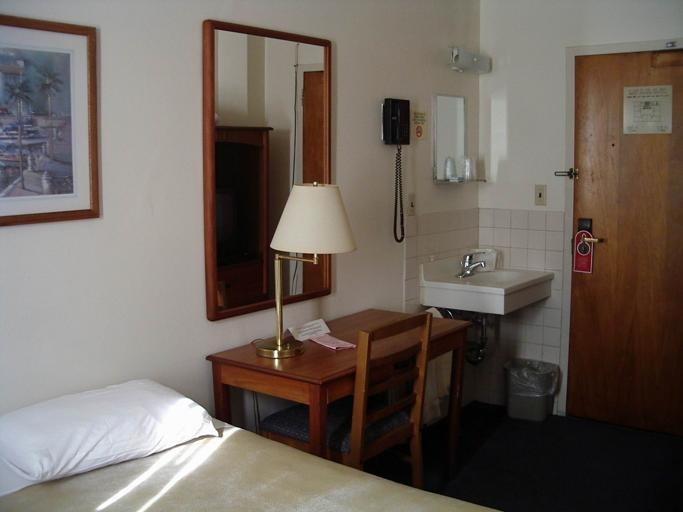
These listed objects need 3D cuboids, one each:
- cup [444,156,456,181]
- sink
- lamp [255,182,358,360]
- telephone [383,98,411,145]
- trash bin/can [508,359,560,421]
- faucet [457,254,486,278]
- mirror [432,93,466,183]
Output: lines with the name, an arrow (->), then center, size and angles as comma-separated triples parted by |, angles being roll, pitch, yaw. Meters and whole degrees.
cup -> 0.790, -0.616, 3.830 | 0.144, 0.161, 0.068 | -7, 11, -43
sink -> 1.041, 0.202, 3.810 | 0.607, 0.416, 0.870 | 8, 12, 43
lamp -> -0.224, 0.052, 2.598 | 0.433, 0.795, 0.531 | -3, 8, -23
telephone -> 0.343, -0.837, 3.382 | 0.063, 0.312, 0.283 | 3, 15, 30
trash bin/can -> 1.399, 0.927, 3.884 | 0.404, 0.353, 0.367 | 1, -8, 20
faucet -> 0.927, 0.073, 3.891 | 0.209, 0.172, 0.146 | 2, 7, 34
mirror -> 0.803, -0.844, 3.847 | 0.140, 0.616, 0.420 | 6, 9, 36
